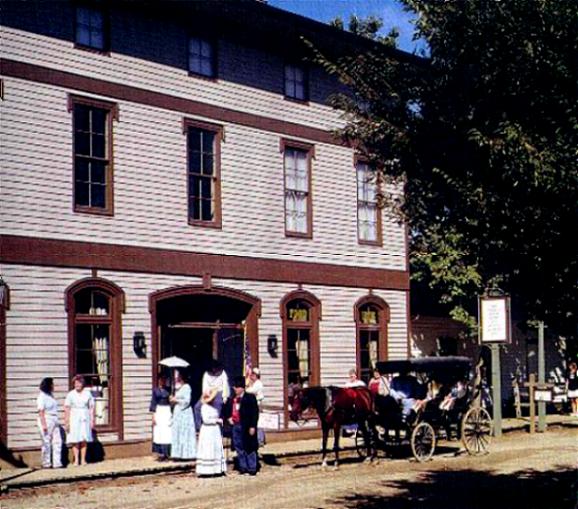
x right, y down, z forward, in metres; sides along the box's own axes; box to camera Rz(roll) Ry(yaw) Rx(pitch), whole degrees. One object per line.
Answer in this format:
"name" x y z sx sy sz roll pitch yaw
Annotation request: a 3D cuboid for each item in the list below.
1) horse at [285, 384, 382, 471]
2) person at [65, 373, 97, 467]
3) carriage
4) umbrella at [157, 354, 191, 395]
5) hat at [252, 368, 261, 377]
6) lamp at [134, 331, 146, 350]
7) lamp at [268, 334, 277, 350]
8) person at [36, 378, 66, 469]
"horse" 1.154 3.665 22.703 1.818 1.715 1.031 4 -12 -35
"person" -4.471 3.531 22.573 0.484 1.871 0.850 -6 -10 21
"carriage" 2.435 3.362 23.714 4.289 2.348 2.165 9 -17 -31
"umbrella" -2.630 2.648 23.914 0.581 0.735 0.613 3 1 29
"hat" -0.766 2.634 23.756 0.162 0.216 0.192 -1 -11 35
"lamp" -3.418 1.965 24.178 0.297 0.545 0.329 2 -5 -17
"lamp" -0.394 2.238 26.983 0.359 0.422 0.112 6 -13 -42
"person" -5.016 3.528 22.210 0.505 1.969 0.507 -1 0 -35
